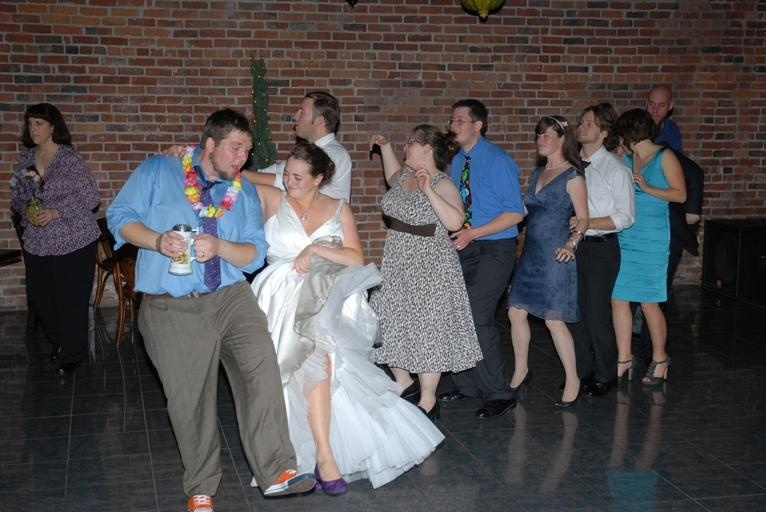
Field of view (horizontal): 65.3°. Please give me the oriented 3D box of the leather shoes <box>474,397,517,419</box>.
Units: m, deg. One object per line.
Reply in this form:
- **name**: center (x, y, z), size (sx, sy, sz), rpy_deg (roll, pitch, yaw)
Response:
- **leather shoes**: center (0.910, 1.215, 4.816), size (0.358, 0.153, 0.125), rpy_deg (-2, -4, -24)

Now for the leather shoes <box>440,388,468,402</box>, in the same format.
- **leather shoes**: center (0.590, 1.184, 5.077), size (0.253, 0.087, 0.094), rpy_deg (2, 0, -12)

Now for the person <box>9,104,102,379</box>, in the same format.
- **person**: center (-2.993, -0.187, 5.532), size (0.675, 2.404, 0.628), rpy_deg (10, 19, 44)

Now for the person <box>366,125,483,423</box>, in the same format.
- **person**: center (0.321, 0.133, 4.712), size (0.853, 2.285, 0.990), rpy_deg (-4, 13, -3)

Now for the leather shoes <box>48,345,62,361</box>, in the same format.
- **leather shoes**: center (-3.087, 0.915, 5.648), size (0.119, 0.109, 0.186), rpy_deg (5, 4, 2)

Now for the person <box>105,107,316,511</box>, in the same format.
- **person**: center (-1.072, 0.345, 3.637), size (0.881, 2.437, 0.794), rpy_deg (-8, 14, -21)

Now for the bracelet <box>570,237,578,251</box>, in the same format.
- **bracelet**: center (1.532, -0.100, 4.777), size (0.077, 0.098, 0.075), rpy_deg (12, 8, 16)

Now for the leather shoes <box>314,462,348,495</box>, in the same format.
- **leather shoes**: center (-0.336, 1.437, 3.838), size (0.137, 0.090, 0.242), rpy_deg (0, 4, -41)

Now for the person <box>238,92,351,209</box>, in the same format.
- **person**: center (-0.748, -0.906, 5.160), size (0.993, 0.978, 0.778), rpy_deg (-11, 23, -34)

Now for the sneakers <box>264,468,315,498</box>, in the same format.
- **sneakers**: center (-0.557, 1.407, 3.681), size (0.375, 0.158, 0.143), rpy_deg (-10, -28, 5)

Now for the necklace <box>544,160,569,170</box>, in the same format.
- **necklace**: center (1.411, -0.756, 4.904), size (0.105, 0.080, 0.240), rpy_deg (-8, 13, -24)

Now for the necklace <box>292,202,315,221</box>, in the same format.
- **necklace**: center (-0.547, -0.294, 4.026), size (0.135, 0.118, 0.030), rpy_deg (-11, -10, -20)

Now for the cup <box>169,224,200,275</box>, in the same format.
- **cup**: center (-1.132, -0.041, 3.492), size (0.123, 0.310, 0.247), rpy_deg (1, 13, 17)

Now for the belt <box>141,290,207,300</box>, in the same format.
- **belt**: center (-1.247, 0.235, 3.590), size (0.389, 0.047, 0.077), rpy_deg (-2, 12, 1)

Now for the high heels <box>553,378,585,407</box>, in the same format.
- **high heels**: center (1.589, 1.170, 5.081), size (0.351, 0.213, 0.148), rpy_deg (-2, 2, -16)

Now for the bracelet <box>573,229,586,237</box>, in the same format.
- **bracelet**: center (1.557, -0.185, 4.753), size (0.053, 0.067, 0.034), rpy_deg (5, 43, 6)

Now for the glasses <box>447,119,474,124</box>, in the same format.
- **glasses**: center (0.641, -1.098, 4.842), size (0.088, 0.026, 0.094), rpy_deg (1, 1, 40)
